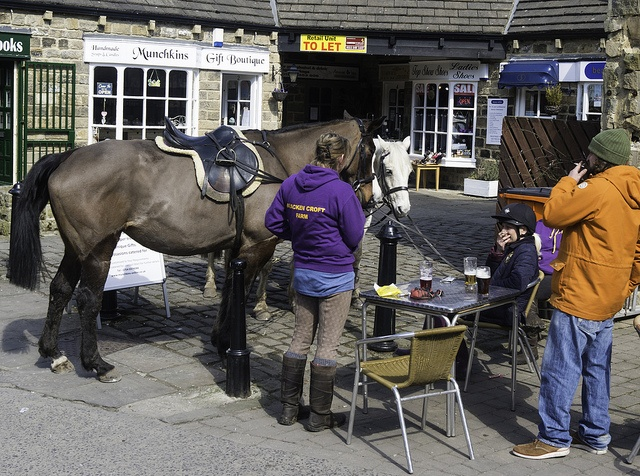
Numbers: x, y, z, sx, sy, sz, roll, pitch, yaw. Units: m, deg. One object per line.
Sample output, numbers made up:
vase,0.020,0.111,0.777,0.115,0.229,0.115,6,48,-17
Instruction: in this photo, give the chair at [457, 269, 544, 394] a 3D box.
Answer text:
chair,1.877,1.082,9.095,1.105,1.554,1.277,3,0,8

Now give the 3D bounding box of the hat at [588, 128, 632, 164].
hat,2.654,-0.837,7.405,0.311,0.289,0.335,23,15,-2

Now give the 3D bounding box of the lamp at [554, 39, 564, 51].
lamp,5.864,-4.786,19.698,0.183,0.271,0.144,5,13,15

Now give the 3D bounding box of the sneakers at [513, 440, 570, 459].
sneakers,1.997,1.952,7.266,0.478,0.199,0.192,2,0,0

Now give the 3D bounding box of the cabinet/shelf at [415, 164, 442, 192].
cabinet/shelf,2.903,-1.614,21.826,0.718,0.717,0.730,0,4,0

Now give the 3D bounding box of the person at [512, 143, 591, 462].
person,2.158,0.627,7.336,0.495,2.702,0.891,6,13,18

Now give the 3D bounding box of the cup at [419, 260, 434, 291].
cup,1.060,0.401,7.993,0.126,0.276,0.320,4,13,8

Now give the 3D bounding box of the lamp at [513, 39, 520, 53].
lamp,4.978,-4.918,20.524,0.222,0.391,0.401,3,10,11

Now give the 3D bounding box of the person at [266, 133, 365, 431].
person,-0.047,0.434,7.647,0.875,2.795,0.633,5,12,16

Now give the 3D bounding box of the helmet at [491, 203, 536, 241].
helmet,2.182,-0.187,8.853,0.440,0.261,0.322,19,3,-4

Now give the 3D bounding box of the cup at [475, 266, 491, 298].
cup,1.627,0.439,8.018,0.139,0.282,0.195,4,13,11

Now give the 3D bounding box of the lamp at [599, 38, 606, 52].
lamp,6.675,-4.590,18.951,0.073,0.290,0.201,-1,13,-13

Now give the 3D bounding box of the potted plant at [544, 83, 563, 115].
potted plant,5.717,-3.379,19.602,0.377,0.756,0.644,5,13,16
